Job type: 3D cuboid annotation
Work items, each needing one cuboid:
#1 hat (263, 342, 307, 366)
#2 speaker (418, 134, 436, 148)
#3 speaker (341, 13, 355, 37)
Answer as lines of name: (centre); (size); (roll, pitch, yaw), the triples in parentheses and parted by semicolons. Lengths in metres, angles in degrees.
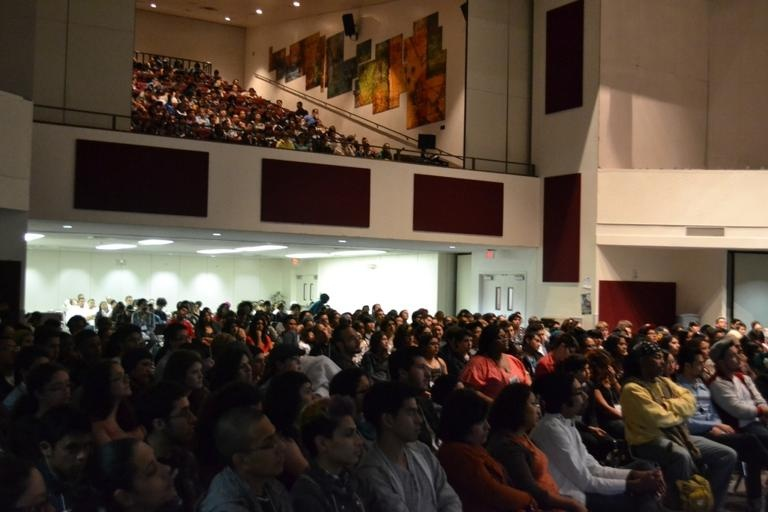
hat: (-0.974, 1.013, 5.904); (0.318, 0.162, 0.239); (-23, 6, -12)
speaker: (1.417, -3.786, 19.568); (0.573, 0.543, 0.316); (2, 2, 17)
speaker: (-1.506, -9.657, 24.748); (0.744, 1.033, 0.329); (-1, -4, 41)
